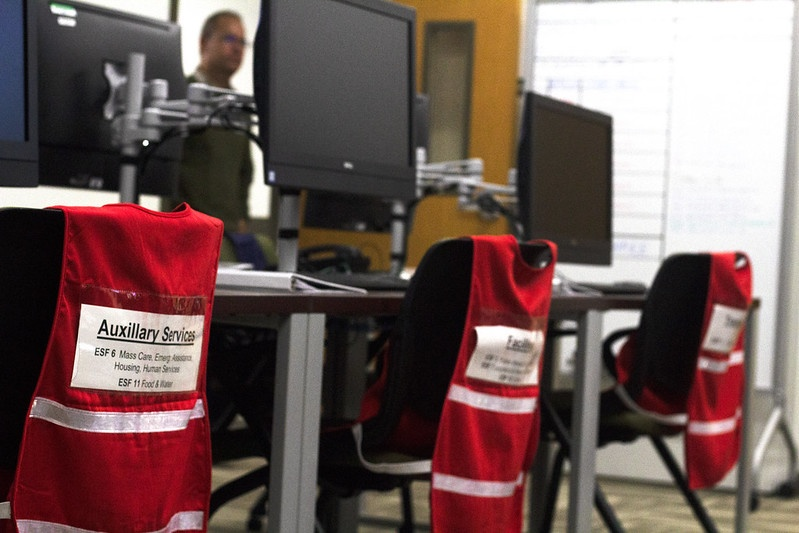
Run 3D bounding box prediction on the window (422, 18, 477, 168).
[{"bbox_3d":[0.280,-1.029,4.785,0.295,0.924,0.083,-7,39,-7],"label":"window"}]
